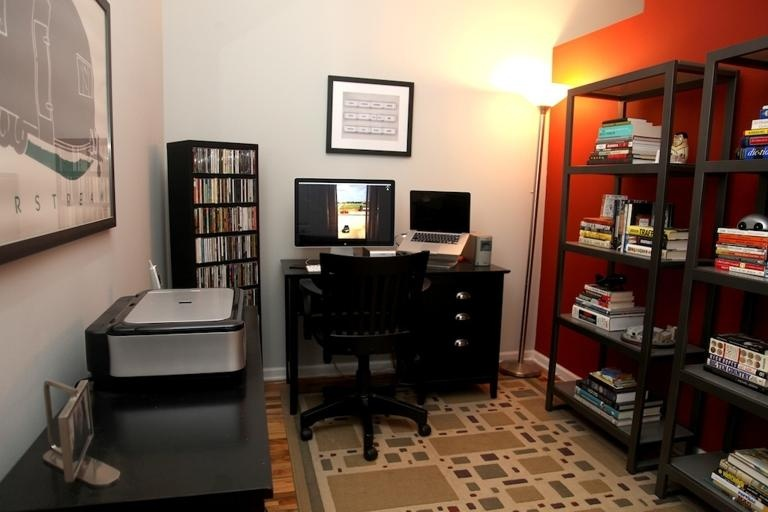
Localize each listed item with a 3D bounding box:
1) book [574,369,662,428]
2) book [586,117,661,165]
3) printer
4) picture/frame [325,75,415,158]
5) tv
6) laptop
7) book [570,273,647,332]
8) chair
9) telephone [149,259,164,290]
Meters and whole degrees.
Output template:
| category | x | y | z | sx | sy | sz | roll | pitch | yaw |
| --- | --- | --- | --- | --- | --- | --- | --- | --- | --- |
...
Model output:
| category | x | y | z | sx | sy | sz | roll | pitch | yaw |
| --- | --- | --- | --- | --- | --- | --- | --- | --- | --- |
| book | 1.382 | 0.847 | 3.300 | 0.261 | 0.095 | 0.369 | 1 | 12 | -5 |
| book | 1.451 | -0.666 | 3.256 | 0.329 | 0.204 | 0.337 | 1 | 5 | 6 |
| printer | -0.810 | 0.250 | 2.022 | 0.403 | 0.155 | 0.435 | 0 | 9 | -12 |
| picture/frame | -0.128 | -1.015 | 3.863 | 0.622 | 0.516 | 0.043 | 0 | 14 | -13 |
| tv | -0.263 | -0.269 | 3.602 | 0.534 | 0.362 | 0.044 | 0 | 5 | -10 |
| laptop | 0.386 | -0.231 | 3.801 | 0.538 | 0.377 | 0.443 | 3 | 27 | 9 |
| book | 1.389 | 0.304 | 3.410 | 0.330 | 0.377 | 0.396 | -1 | 4 | -9 |
| chair | -0.090 | 0.502 | 3.484 | 1.092 | 1.429 | 1.053 | 0 | 8 | -11 |
| telephone | -1.218 | 0.094 | 2.875 | 0.035 | 0.149 | 0.156 | -15 | 19 | -16 |
